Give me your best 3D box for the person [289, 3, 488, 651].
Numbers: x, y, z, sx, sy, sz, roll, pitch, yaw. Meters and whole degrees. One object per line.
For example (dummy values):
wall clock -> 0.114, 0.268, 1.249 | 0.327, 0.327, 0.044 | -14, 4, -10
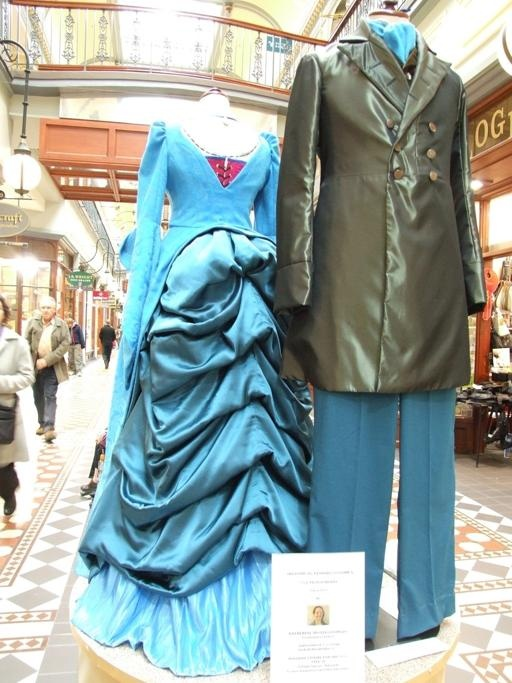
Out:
person -> 0.296, -0.081, 1.230 | 0.495, 1.356, 0.266 | 0, 0, 1
